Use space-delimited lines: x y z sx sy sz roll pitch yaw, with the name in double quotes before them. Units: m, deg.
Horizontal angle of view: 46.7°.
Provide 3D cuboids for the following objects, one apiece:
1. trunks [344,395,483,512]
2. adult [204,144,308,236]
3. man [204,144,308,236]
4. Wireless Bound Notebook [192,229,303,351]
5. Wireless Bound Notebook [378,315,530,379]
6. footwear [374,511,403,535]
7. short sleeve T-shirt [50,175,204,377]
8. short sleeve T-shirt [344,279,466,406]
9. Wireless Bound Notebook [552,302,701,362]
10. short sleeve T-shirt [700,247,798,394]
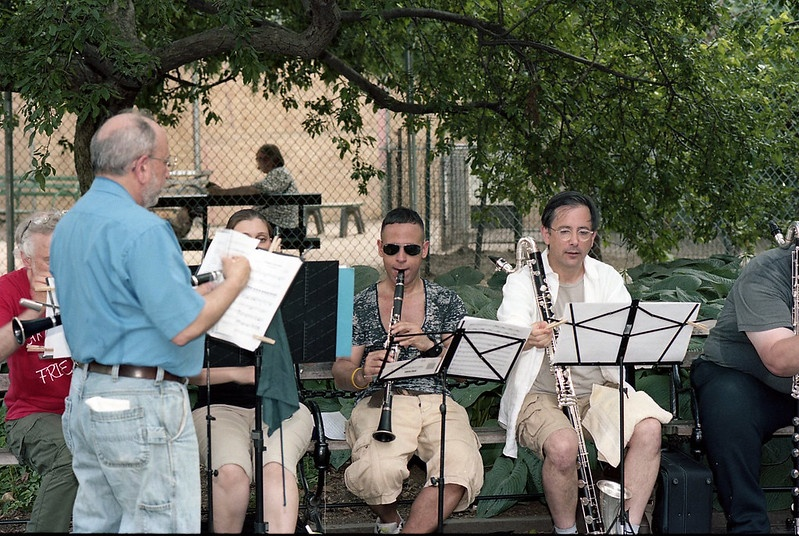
"trunks" 0.090 1.153 6.450 1.001 0.427 1.318 0 27 -3
"adult" -1.702 -0.691 11.172 1.185 1.620 0.752 -5 -3 -27
"man" -1.702 -0.704 11.150 1.174 1.584 0.698 -5 -2 -24
"Wireless Bound Notebook" -0.845 0.098 5.108 0.656 0.656 0.234 21 0 -1
"Wireless Bound Notebook" 0.381 0.530 5.789 0.796 0.441 0.152 13 32 -2
"footwear" -0.074 1.643 6.048 0.185 0.166 0.441 0 -1 0
"short sleeve T-shirt" -1.593 0.044 5.403 1.262 1.165 0.674 5 9 39
"short sleeve T-shirt" 0.022 0.402 6.581 1.115 1.044 0.643 0 -6 -1
"Wireless Bound Notebook" 1.421 0.416 5.857 0.871 0.347 0.381 0 0 5
"short sleeve T-shirt" 2.431 0.404 6.419 0.522 0.742 0.845 19 -3 32
